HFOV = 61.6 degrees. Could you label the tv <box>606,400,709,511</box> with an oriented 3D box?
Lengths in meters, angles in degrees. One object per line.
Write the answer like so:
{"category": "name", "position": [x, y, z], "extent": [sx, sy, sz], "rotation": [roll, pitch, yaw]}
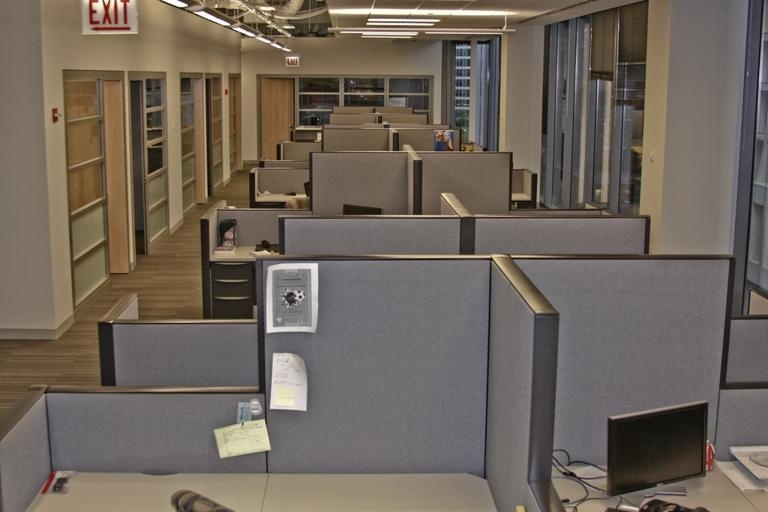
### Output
{"category": "tv", "position": [1.302, 0.968, 3.075], "extent": [0.461, 0.344, 0.138], "rotation": [-2, 3, -18]}
